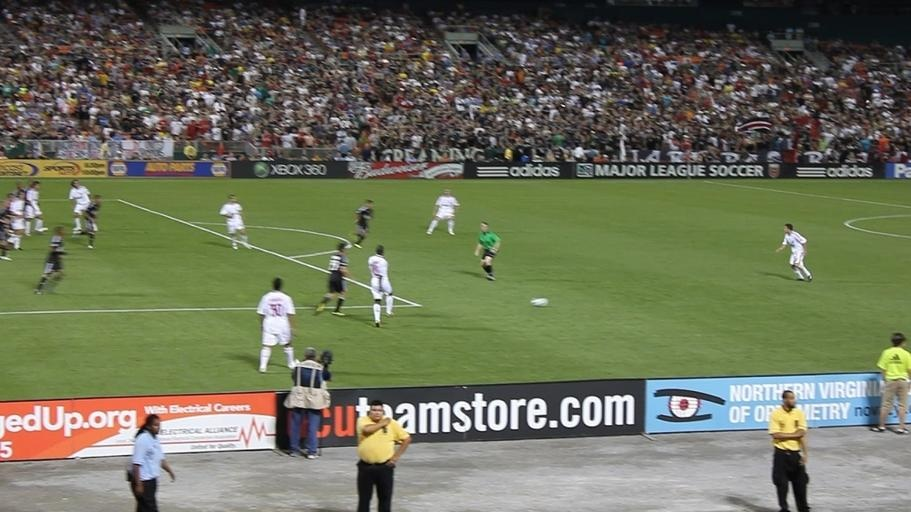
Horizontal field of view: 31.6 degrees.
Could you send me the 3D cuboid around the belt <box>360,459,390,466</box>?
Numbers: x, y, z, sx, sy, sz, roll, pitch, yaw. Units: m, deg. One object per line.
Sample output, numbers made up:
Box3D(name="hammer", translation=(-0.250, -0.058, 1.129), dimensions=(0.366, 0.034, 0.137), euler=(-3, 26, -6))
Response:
Box3D(name="belt", translation=(-4.089, 10.539, 82.306), dimensions=(1.319, 0.241, 0.093), euler=(-1, 5, 4))
